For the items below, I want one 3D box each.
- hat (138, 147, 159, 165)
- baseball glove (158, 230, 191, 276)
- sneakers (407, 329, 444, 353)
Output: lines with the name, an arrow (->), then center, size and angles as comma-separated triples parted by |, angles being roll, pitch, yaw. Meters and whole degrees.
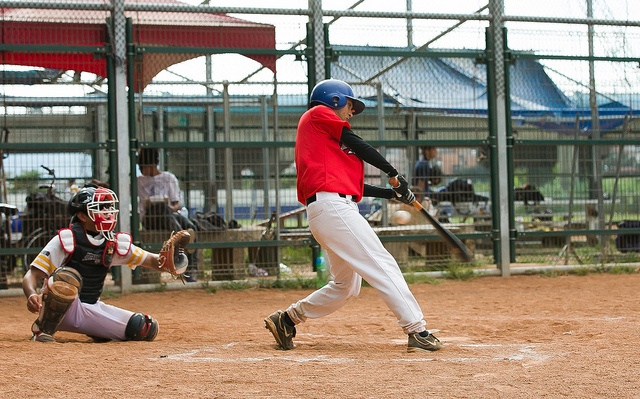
hat -> -2.668, -0.660, 17.252 | 0.236, 0.280, 0.257 | -1, -2, 25
baseball glove -> -1.921, 0.727, 14.672 | 0.239, 0.606, 0.423 | 14, -14, 2
sneakers -> 1.381, 1.830, 14.243 | 0.510, 0.257, 0.214 | 1, 0, -10
